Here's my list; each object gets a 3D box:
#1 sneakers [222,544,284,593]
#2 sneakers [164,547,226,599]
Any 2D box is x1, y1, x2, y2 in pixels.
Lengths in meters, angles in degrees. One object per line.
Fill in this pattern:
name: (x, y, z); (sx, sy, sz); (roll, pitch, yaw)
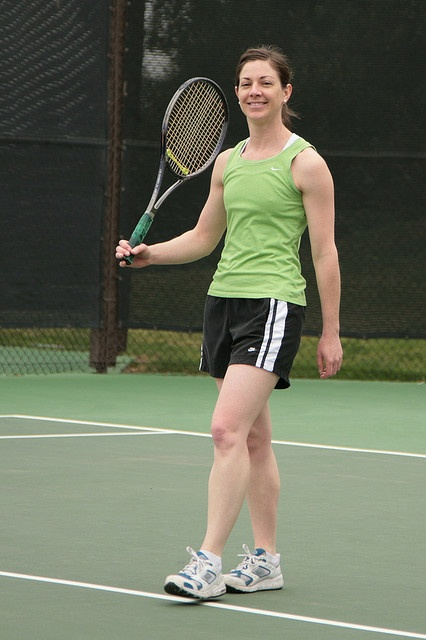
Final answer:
sneakers: (0.100, 0.667, 1.750); (0.217, 0.105, 0.075); (13, -16, -41)
sneakers: (-0.037, 0.603, 1.563); (0.078, 0.108, 0.199); (-6, -18, 35)
